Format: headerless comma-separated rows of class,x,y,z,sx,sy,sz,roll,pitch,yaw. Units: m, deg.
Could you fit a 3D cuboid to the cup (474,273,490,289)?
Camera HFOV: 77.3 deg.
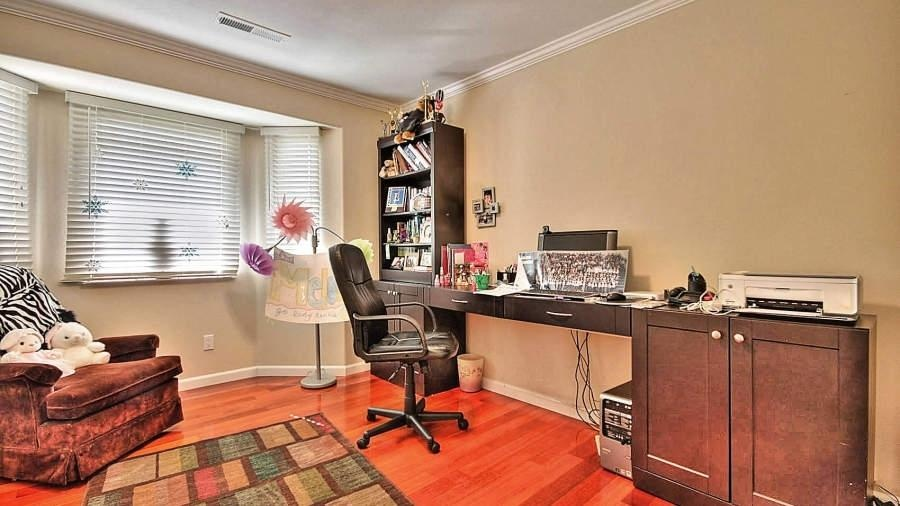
cup,0.304,0.281,5.491,0.164,0.104,0.151,-2,4,0

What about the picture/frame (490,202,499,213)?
picture/frame,0.450,-0.462,5.784,0.062,0.099,0.117,4,-5,-40

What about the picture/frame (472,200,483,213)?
picture/frame,0.284,-0.485,5.894,0.084,0.127,0.147,3,-4,-34

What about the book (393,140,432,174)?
book,-0.427,-1.007,5.912,0.351,0.306,0.084,-5,1,39

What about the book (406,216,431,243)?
book,-0.340,-0.244,6.108,0.120,0.290,0.337,0,2,-44

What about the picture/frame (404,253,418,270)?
picture/frame,-0.431,0.106,6.199,0.198,0.201,0.015,-5,-9,43

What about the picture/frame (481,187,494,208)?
picture/frame,0.394,-0.574,5.835,0.165,0.149,0.050,-2,2,37

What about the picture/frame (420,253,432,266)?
picture/frame,-0.262,0.077,6.036,0.012,0.120,0.157,0,3,-36

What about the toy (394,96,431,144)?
toy,-0.424,-1.412,5.968,0.456,0.369,0.198,-2,2,42

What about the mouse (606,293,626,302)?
mouse,1.379,0.376,4.707,0.114,0.032,0.079,-1,3,-38
